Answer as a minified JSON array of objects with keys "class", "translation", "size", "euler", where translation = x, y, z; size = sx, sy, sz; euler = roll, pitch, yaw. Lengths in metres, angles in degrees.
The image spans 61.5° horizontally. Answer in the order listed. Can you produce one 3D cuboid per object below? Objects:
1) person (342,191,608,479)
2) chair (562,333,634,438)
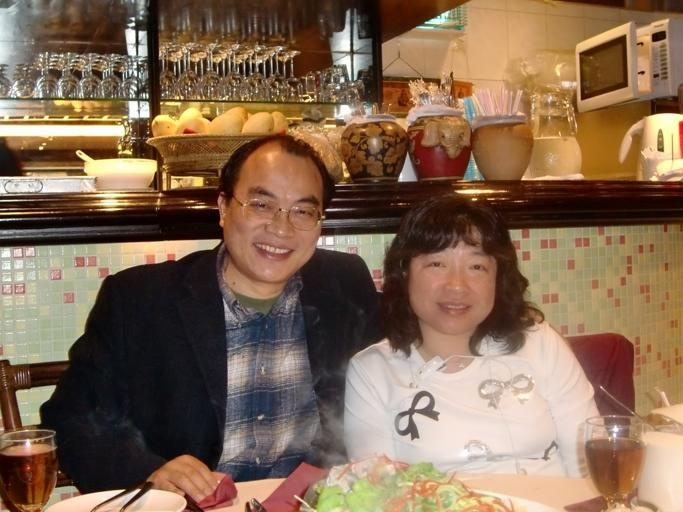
[{"class":"person","translation":[0.372,0.228,1.702],"size":[0.752,0.815,0.526],"euler":[-5,6,-12]},{"class":"chair","translation":[0.914,0.394,1.983],"size":[0.202,0.291,0.274],"euler":[-1,-11,9]}]
